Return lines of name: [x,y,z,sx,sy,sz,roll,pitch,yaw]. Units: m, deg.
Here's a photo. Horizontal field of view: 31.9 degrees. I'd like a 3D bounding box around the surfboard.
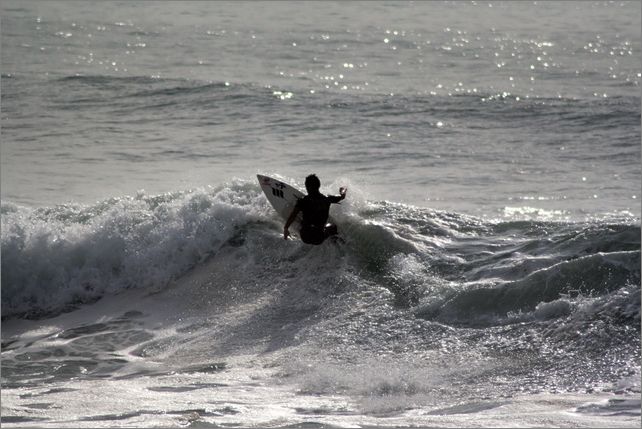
surfboard: [-1.276,-0.543,39.628,0.547,0.969,4.097,32,3,-33]
